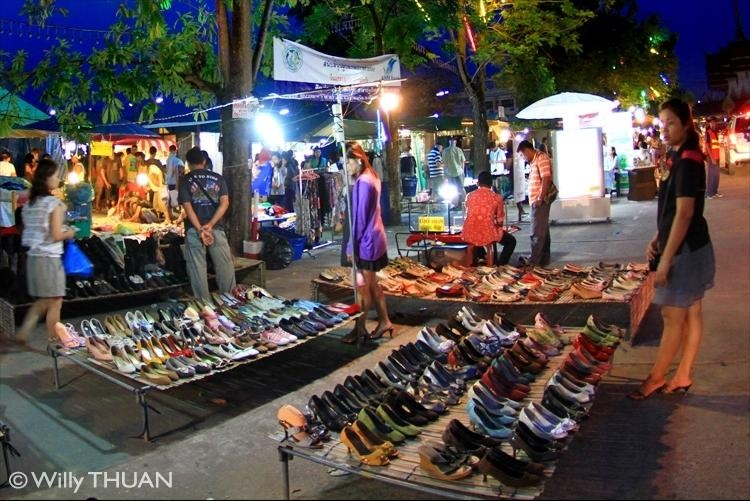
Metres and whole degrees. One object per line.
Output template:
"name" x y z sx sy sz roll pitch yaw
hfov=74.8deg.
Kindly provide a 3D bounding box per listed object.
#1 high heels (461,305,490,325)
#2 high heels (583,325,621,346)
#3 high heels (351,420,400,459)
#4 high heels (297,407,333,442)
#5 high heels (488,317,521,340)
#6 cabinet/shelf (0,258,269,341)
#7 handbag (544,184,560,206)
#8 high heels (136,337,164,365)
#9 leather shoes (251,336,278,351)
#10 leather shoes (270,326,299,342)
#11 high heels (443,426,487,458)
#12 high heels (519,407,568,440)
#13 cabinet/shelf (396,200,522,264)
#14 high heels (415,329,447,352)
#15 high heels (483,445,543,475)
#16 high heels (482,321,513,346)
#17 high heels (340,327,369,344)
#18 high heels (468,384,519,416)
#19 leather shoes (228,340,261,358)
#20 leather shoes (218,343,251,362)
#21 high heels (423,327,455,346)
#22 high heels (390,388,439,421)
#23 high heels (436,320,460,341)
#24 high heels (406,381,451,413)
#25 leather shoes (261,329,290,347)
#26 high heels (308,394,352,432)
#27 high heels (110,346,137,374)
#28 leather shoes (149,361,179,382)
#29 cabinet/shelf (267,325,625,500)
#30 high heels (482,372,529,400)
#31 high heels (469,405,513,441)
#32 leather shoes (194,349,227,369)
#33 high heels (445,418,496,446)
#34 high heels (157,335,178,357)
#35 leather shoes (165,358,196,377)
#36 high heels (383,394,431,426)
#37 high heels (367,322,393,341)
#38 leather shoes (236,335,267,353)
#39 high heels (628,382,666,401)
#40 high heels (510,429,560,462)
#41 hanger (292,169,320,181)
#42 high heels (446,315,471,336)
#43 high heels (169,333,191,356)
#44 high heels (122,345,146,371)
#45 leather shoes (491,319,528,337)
"high heels" 1.391 0.882 6.768 0.378 0.133 0.230 30 49 22
"high heels" 2.555 0.963 5.501 0.423 0.134 0.214 4 14 20
"high heels" -0.001 1.443 3.829 0.408 0.122 0.138 17 1 23
"high heels" -0.504 1.437 3.992 0.229 0.078 0.165 42 36 25
"high heels" 1.489 0.909 5.657 0.209 0.114 0.347 -21 24 -39
"cabinet/shelf" -4.343 0.813 8.628 1.272 0.586 2.891 10 14 42
"handbag" 3.465 -1.125 9.849 0.188 0.389 0.324 19 52 10
"high heels" -2.400 1.093 5.302 0.158 0.161 0.460 -21 41 -40
"leather shoes" -1.261 1.074 5.628 0.290 0.087 0.101 2 9 39
"leather shoes" -1.103 0.978 5.802 0.380 0.124 0.130 6 11 25
"high heels" 0.689 1.471 3.813 0.313 0.102 0.164 15 23 24
"high heels" 1.320 1.406 3.909 0.340 0.107 0.172 3 6 19
"cabinet/shelf" 1.633 -0.225 10.289 2.135 1.145 1.771 -5 6 -16
"high heels" 0.664 1.011 5.632 0.506 0.168 0.152 12 23 37
"high heels" 0.949 1.485 3.459 0.500 0.168 0.154 -3 10 17
"high heels" 1.415 0.945 5.639 0.217 0.123 0.361 -23 23 -35
"high heels" -0.289 1.190 6.833 0.391 0.155 0.205 2 3 12
"high heels" 0.989 1.338 4.214 0.412 0.132 0.206 -4 8 10
"leather shoes" -1.487 1.085 5.435 0.281 0.082 0.152 4 5 41
"leather shoes" -1.535 1.117 5.396 0.255 0.077 0.156 5 6 31
"high heels" 0.763 0.980 5.659 0.466 0.158 0.148 3 13 32
"high heels" 0.318 1.366 4.271 0.398 0.132 0.225 25 20 20
"high heels" 0.855 0.977 5.883 0.379 0.138 0.126 27 26 -17
"high heels" 0.489 1.332 4.492 0.165 0.108 0.436 -5 8 -33
"leather shoes" -1.158 1.012 5.735 0.298 0.097 0.159 6 7 22
"high heels" -0.423 1.372 4.183 0.202 0.162 0.504 -10 16 17
"high heels" -2.641 1.156 5.131 0.443 0.151 0.148 25 28 37
"leather shoes" -2.132 1.221 4.982 0.403 0.108 0.134 7 17 41
"cabinet/shelf" 0.677 1.399 4.135 1.347 0.505 2.485 3 12 28
"high heels" 1.176 1.252 4.558 0.455 0.156 0.218 7 16 10
"high heels" 0.914 1.387 4.060 0.473 0.169 0.153 10 18 35
"leather shoes" -1.780 1.167 5.316 0.441 0.103 0.157 8 17 43
"high heels" 0.745 1.427 3.811 0.353 0.116 0.187 3 10 24
"high heels" -2.303 1.066 5.495 0.159 0.091 0.281 -30 69 -37
"leather shoes" -1.990 1.185 5.046 0.318 0.105 0.161 15 20 37
"high heels" 0.281 1.362 4.203 0.199 0.181 0.497 -1 -3 -14
"high heels" 0.083 1.158 7.067 0.400 0.159 0.184 1 0 -6
"leather shoes" -1.407 1.062 5.605 0.400 0.095 0.153 8 13 38
"high heels" 2.727 1.443 5.025 0.417 0.103 0.152 -19 12 7
"high heels" 1.180 1.444 3.649 0.389 0.133 0.175 13 13 12
"hanger" -1.876 -2.213 14.297 0.616 0.230 0.790 4 7 32
"high heels" 1.017 0.913 5.999 0.366 0.124 0.140 35 6 7
"high heels" -2.195 1.053 5.516 0.141 0.128 0.382 -17 13 -30
"high heels" -2.561 1.145 5.209 0.288 0.093 0.092 29 29 23
"leather shoes" 1.539 0.925 5.703 0.422 0.137 0.229 5 23 24
